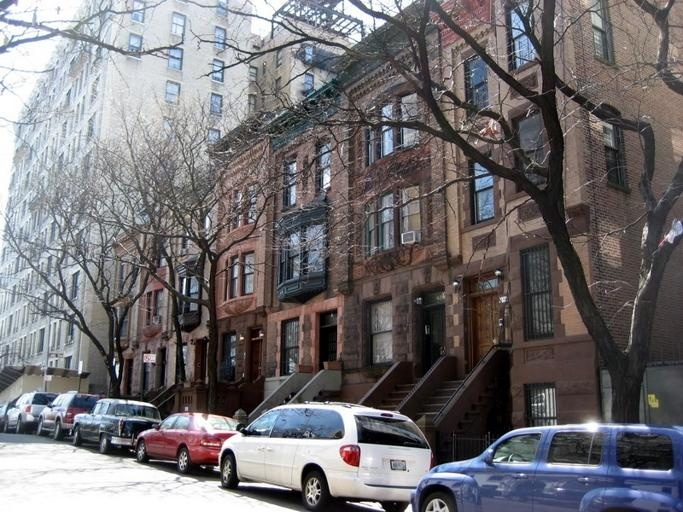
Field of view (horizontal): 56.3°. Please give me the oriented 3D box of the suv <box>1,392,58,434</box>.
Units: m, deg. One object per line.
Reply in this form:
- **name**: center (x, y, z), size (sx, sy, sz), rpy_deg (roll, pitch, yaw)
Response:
- **suv**: center (-16.359, 8.028, 33.533), size (2.011, 2.044, 4.546), rpy_deg (7, -14, -30)

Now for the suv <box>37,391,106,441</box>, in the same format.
- **suv**: center (-11.960, 7.052, 28.665), size (2.105, 2.104, 4.409), rpy_deg (11, -17, -34)

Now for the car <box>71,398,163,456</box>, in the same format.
- **car**: center (-8.158, 6.101, 23.144), size (1.835, 1.513, 4.044), rpy_deg (11, -17, -31)

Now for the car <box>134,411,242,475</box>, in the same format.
- **car**: center (-4.487, 5.360, 18.948), size (1.635, 1.331, 3.645), rpy_deg (14, -18, -37)

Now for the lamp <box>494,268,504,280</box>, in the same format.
- **lamp**: center (5.171, 0.542, 21.146), size (0.260, 0.440, 0.287), rpy_deg (14, -22, -34)

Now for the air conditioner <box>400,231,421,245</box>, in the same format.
- **air conditioner**: center (2.604, -0.697, 24.437), size (0.863, 0.451, 0.430), rpy_deg (-17, -26, 40)
